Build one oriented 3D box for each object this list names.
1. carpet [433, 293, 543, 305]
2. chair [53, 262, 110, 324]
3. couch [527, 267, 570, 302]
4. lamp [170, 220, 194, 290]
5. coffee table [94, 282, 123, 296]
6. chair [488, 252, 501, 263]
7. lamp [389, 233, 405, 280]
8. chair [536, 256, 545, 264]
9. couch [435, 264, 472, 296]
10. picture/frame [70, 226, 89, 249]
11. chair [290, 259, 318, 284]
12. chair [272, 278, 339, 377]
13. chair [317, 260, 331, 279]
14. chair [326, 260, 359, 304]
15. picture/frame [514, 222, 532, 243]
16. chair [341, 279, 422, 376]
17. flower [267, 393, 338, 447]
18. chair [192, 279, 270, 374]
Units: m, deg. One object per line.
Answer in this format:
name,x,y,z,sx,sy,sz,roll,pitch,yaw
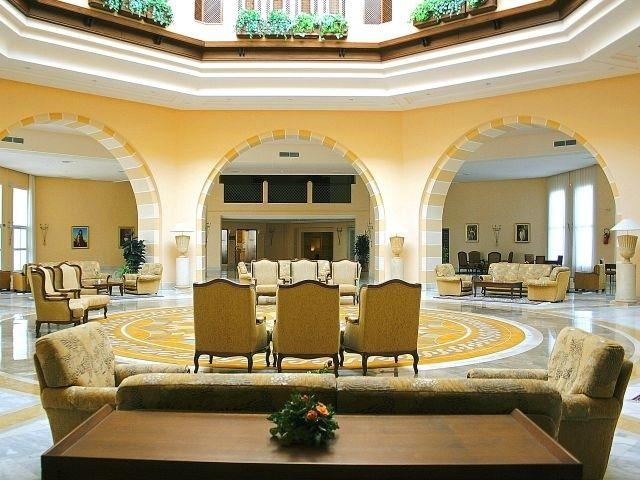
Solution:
carpet,4.382,1.588,12.700,2.931,0.190,1.811,-1,-1,29
chair,-4.814,1.030,9.718,0.971,1.068,0.950,4,1,34
couch,5.885,1.161,12.460,0.981,0.725,0.678,-1,-1,23
lamp,-4.046,0.479,14.174,0.568,1.871,0.961,0,-1,-15
coffee table,-5.932,1.356,13.534,0.687,0.246,0.697,2,-3,-34
chair,7.755,0.793,21.469,0.408,0.724,0.447,3,6,18
lamp,2.226,0.486,13.965,0.402,1.266,0.553,-1,-1,8
chair,9.136,0.834,20.008,0.283,0.395,0.232,1,-1,-3
couch,3.795,1.147,13.639,0.993,0.607,0.661,-1,-1,3
picture/frame,-10.892,-0.114,21.741,1.024,1.285,0.091,-3,4,-31
chair,-0.426,0.758,11.988,0.558,0.893,0.586,0,-6,-8
chair,-0.168,0.991,5.923,1.001,1.438,1.015,1,5,-2
chair,0.076,0.776,12.264,0.408,0.500,0.417,0,-10,1
chair,0.549,1.004,11.741,1.004,1.009,0.988,0,1,-27
picture/frame,9.085,-0.314,21.635,0.659,0.663,0.092,-1,-1,40
chair,0.748,1.094,6.111,0.841,1.095,0.849,3,-6,-20
flower,-0.080,0.918,2.499,0.296,0.206,0.327,25,-9,-25
chair,-1.104,1.014,6.074,1.034,1.396,1.065,0,3,6
